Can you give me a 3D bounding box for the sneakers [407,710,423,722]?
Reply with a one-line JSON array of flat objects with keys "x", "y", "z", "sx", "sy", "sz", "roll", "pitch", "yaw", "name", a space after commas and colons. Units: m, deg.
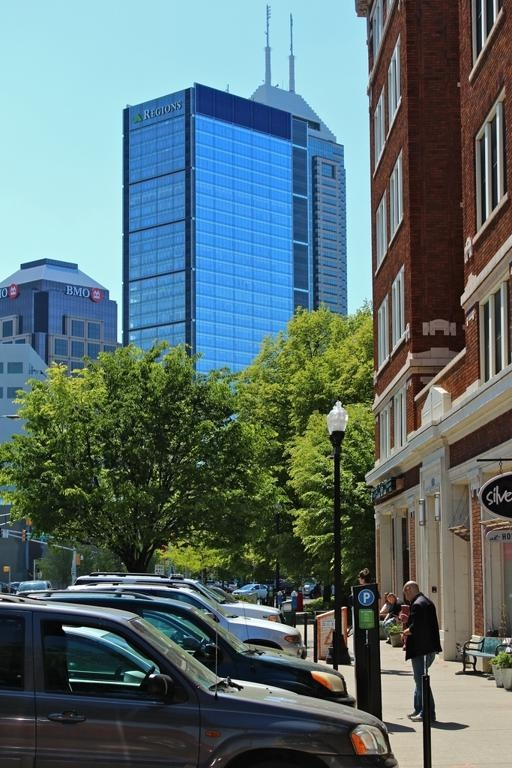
[{"x": 1.780, "y": 3.685, "z": 14.143, "sx": 0.241, "sy": 0.111, "sz": 0.091, "roll": 0, "pitch": -17, "yaw": 29, "name": "sneakers"}]
